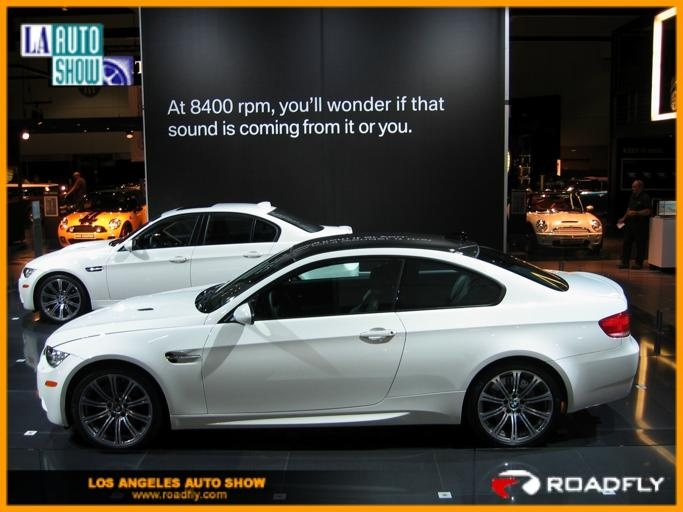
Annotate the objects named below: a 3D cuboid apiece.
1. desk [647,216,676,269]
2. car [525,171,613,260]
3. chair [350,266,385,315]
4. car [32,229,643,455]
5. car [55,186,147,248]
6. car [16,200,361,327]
[{"bbox_3d":[7.649,-0.326,12.181,0.414,1.237,0.618,0,10,6],"label":"desk"},{"bbox_3d":[6.809,-1.153,16.328,2.507,1.915,4.116,-1,8,7],"label":"car"},{"bbox_3d":[0.204,0.301,4.430,0.311,0.389,0.262,-1,6,-4],"label":"chair"},{"bbox_3d":[-0.079,0.822,4.994,4.943,1.484,2.163,2,3,-1],"label":"car"},{"bbox_3d":[-7.029,-1.166,15.775,2.253,1.578,3.721,-1,7,2],"label":"car"},{"bbox_3d":[-2.484,-0.010,8.339,4.913,1.586,2.116,0,4,0],"label":"car"}]
